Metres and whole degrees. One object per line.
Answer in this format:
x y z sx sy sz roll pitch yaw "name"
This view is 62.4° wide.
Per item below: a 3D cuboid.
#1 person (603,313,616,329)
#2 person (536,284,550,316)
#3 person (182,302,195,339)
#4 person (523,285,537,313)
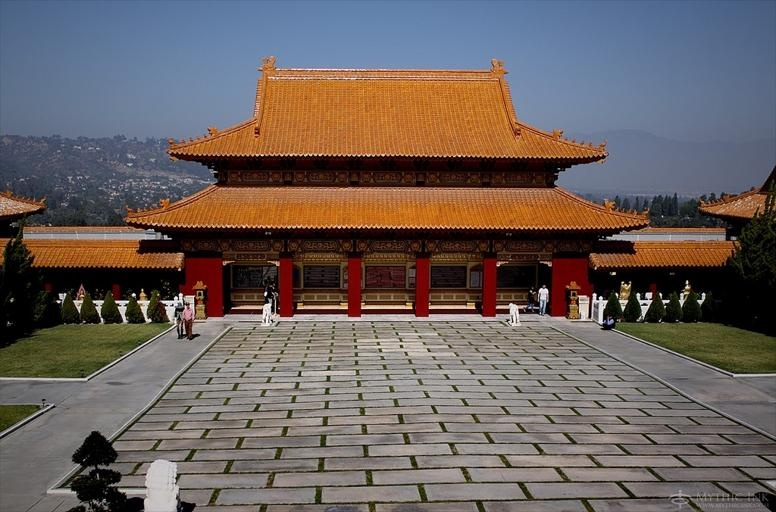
10.702 3.168 30.505 0.553 0.672 0.776 1 -2 -3 "person"
8.034 2.219 32.940 0.595 1.465 1.014 3 12 13 "person"
-8.790 2.762 28.081 0.348 1.556 1.002 -4 13 -19 "person"
7.628 2.199 33.887 0.546 1.137 0.990 4 12 15 "person"
